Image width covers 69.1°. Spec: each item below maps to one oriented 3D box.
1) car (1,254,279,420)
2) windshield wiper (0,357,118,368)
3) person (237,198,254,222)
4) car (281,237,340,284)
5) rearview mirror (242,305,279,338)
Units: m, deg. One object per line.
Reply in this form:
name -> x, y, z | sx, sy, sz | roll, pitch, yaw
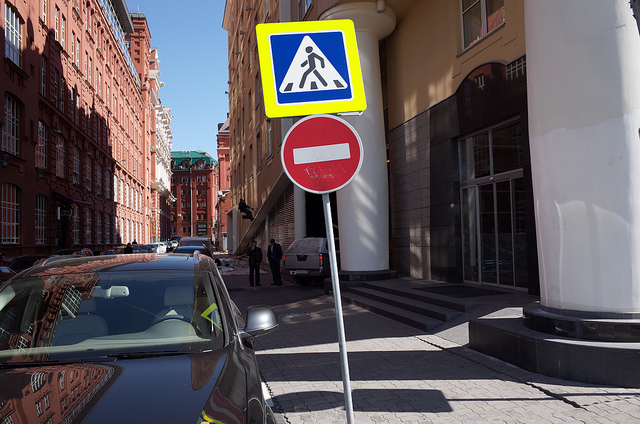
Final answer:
car -> -1.736, 1.142, 4.322 | 2.482, 0.968, 1.825 | -3, 3, 1
windshield wiper -> -2.267, 1.281, 4.051 | 1.006, 0.057, 0.100 | -4, 3, -1
person -> -5.661, -0.228, 36.235 | 1.014, 1.727, 1.250 | -1, 4, 41
car -> -0.480, 1.954, 18.655 | 1.436, 1.431, 2.718 | -3, 5, 26
rearview mirror -> -0.642, 1.146, 4.937 | 0.367, 0.308, 0.257 | -4, 3, -17
